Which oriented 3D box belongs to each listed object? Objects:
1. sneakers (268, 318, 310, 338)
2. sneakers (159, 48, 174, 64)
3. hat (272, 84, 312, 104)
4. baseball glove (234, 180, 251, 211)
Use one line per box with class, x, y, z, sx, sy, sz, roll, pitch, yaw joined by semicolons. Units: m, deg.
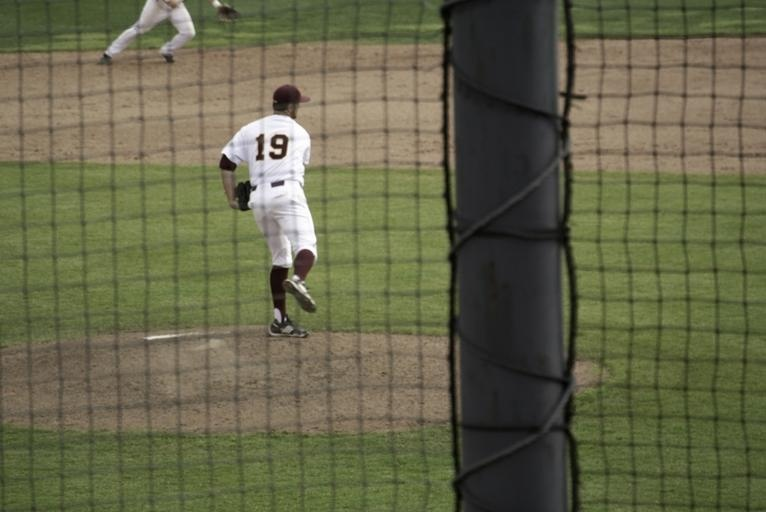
sneakers;-1.129;0.856;19.031;0.554;0.195;0.179;1;4;-2
sneakers;-3.162;-2.914;24.027;0.171;0.085;0.155;1;-9;5
hat;-1.066;-1.868;19.164;0.395;0.155;0.239;-12;25;-19
baseball glove;-1.640;-0.701;19.105;0.142;0.293;0.224;12;16;-16
